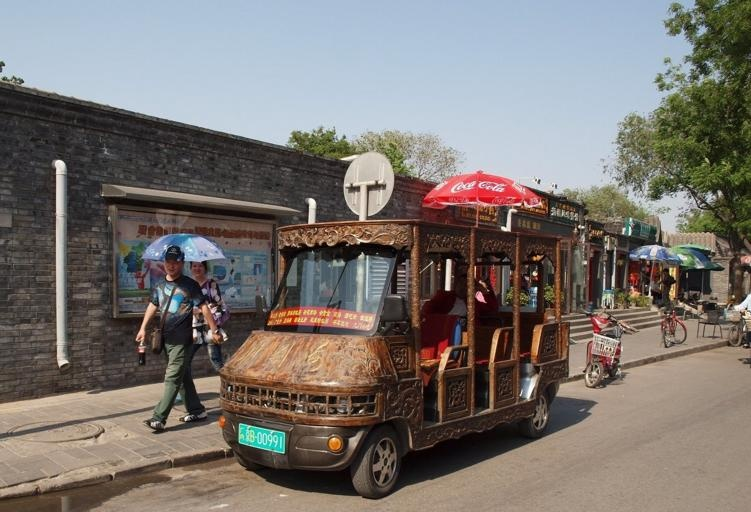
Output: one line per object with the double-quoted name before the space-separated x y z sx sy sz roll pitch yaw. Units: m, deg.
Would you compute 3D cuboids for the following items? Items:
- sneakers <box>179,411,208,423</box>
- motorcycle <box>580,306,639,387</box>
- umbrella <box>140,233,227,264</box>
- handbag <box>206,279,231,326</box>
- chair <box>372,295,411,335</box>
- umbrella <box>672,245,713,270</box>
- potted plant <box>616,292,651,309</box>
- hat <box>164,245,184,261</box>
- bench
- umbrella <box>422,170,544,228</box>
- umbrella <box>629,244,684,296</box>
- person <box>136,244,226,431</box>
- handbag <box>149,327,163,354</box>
"sneakers" -3.038 2.644 9.056 0.422 0.177 0.162 7 -10 -29
"motorcycle" 5.512 2.232 13.195 0.682 1.724 1.555 4 3 34
"umbrella" -3.285 -0.150 9.731 0.793 0.283 0.813 -3 -5 29
"handbag" -2.913 0.862 9.906 0.319 0.822 0.638 -3 14 14
"chair" 0.215 0.747 6.859 0.351 0.442 0.364 0 -9 0
"umbrella" 19.630 0.056 33.820 1.654 0.551 1.640 -1 12 -3
"potted plant" 13.461 2.382 28.879 1.397 0.466 1.297 -2 4 -30
"hat" -3.094 -0.037 8.327 0.243 0.247 0.241 1 3 -15
"bench" 1.714 1.670 8.263 1.240 1.139 2.355 0 1 41
"umbrella" 2.213 -1.275 11.390 2.038 0.916 1.074 3 3 25
"umbrella" 14.200 0.602 28.453 2.311 1.532 2.206 1 6 -21
"person" -3.089 1.274 8.490 1.147 2.878 0.825 0 3 -23
"handbag" -3.329 1.268 8.215 0.237 0.368 0.167 4 4 38
